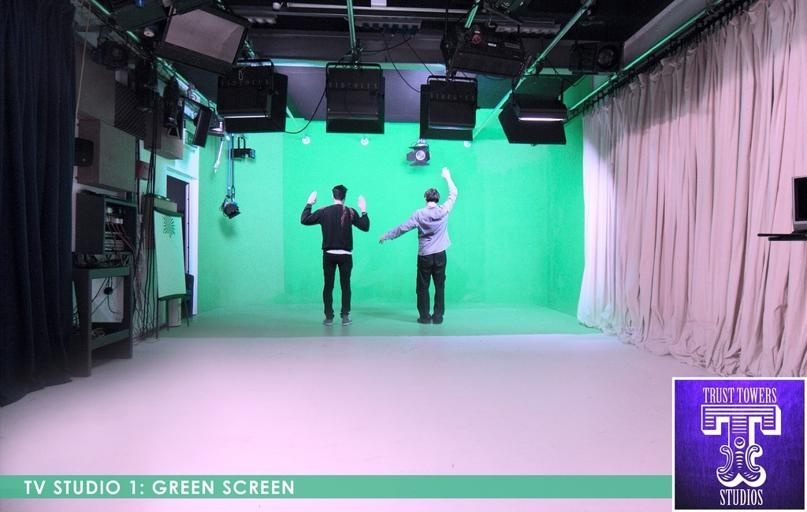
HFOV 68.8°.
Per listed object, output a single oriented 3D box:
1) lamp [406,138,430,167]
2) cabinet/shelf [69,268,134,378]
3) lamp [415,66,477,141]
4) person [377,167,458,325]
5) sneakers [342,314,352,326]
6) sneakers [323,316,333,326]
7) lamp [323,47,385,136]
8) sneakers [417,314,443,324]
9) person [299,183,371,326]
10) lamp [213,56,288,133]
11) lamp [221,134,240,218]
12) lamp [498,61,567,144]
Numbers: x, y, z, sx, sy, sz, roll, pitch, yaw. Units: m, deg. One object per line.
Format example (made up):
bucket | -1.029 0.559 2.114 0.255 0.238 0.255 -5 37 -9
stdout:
lamp | 0.245 -1.645 9.430 0.383 0.399 0.217 0 5 2
cabinet/shelf | -3.054 0.691 5.936 0.430 0.961 0.997 -2 -2 -2
lamp | 0.569 -1.889 7.465 0.691 0.729 0.789 0 5 2
person | 0.317 -0.187 8.199 0.822 2.073 1.109 0 5 5
sneakers | -0.742 0.825 7.741 0.123 0.109 0.320 0 5 -4
sneakers | -0.982 0.837 7.672 0.124 0.099 0.172 -1 5 -6
lamp | -0.595 -1.958 7.378 1.066 1.182 0.772 0 4 -4
sneakers | 0.367 0.831 7.796 0.302 0.127 0.120 2 -5 -7
person | -0.904 -0.035 7.885 0.882 1.791 0.613 -1 4 -8
lamp | -1.846 -1.989 7.329 0.911 0.623 0.732 -2 -10 7
lamp | -2.644 -1.197 8.928 0.239 1.262 0.496 -1 5 -17
lamp | 1.815 -1.877 7.766 0.784 0.795 0.650 4 19 11
